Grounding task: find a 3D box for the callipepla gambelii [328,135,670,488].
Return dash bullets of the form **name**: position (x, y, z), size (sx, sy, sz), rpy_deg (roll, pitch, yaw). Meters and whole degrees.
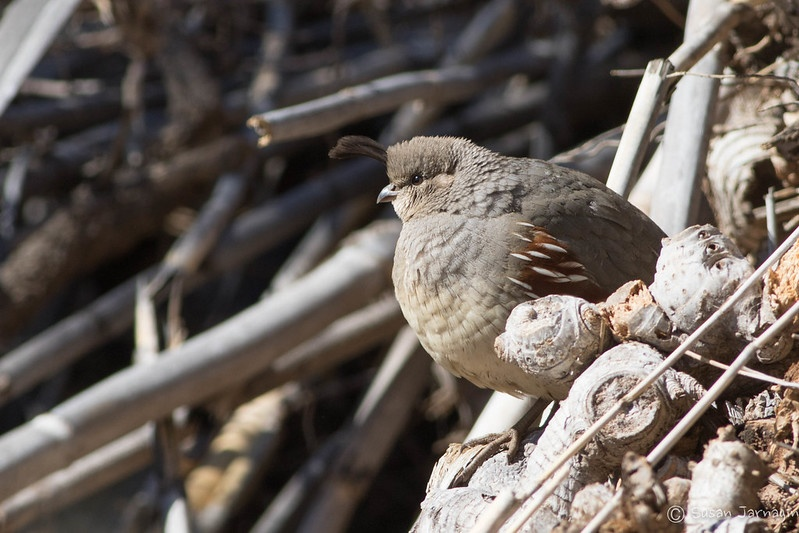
- **callipepla gambelii**: position (0.439, -0.051, 7.315), size (1.419, 1.102, 1.028), rpy_deg (10, 37, 36)
